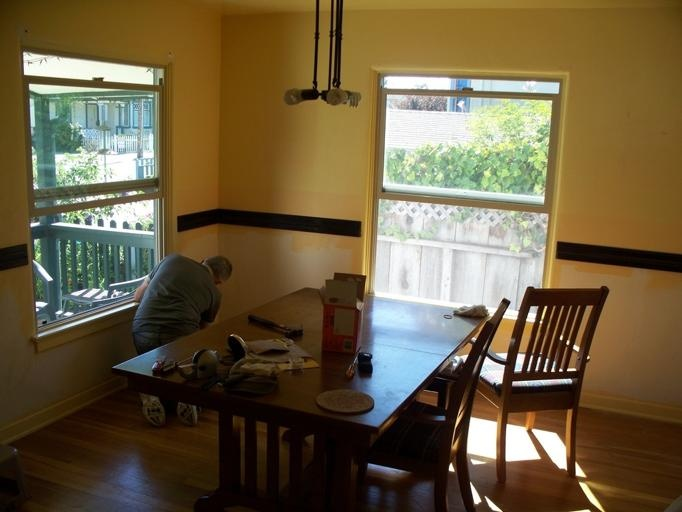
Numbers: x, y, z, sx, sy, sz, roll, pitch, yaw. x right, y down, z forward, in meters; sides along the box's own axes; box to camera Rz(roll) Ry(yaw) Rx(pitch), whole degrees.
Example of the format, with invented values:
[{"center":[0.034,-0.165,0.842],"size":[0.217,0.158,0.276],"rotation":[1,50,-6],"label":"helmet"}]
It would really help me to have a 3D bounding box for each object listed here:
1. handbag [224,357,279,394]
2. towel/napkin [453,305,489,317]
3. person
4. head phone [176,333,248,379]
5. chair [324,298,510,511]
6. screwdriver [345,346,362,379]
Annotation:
[{"center":[-0.413,0.559,2.453],"size":[0.144,0.058,0.153],"rotation":[3,20,2],"label":"handbag"},{"center":[0.900,0.373,3.575],"size":[0.119,0.055,0.125],"rotation":[1,2,8],"label":"towel/napkin"},{"center":[-1.212,0.614,4.013],"size":[0.613,1.349,0.807],"rotation":[3,-7,39],"label":"person"},{"center":[-0.636,0.460,2.589],"size":[0.162,0.131,0.292],"rotation":[7,11,33],"label":"head phone"},{"center":[0.657,0.744,3.291],"size":[1.041,1.608,0.984],"rotation":[5,10,23],"label":"chair"},{"center":[0.065,0.555,2.725],"size":[0.056,0.043,0.198],"rotation":[3,19,10],"label":"screwdriver"}]
